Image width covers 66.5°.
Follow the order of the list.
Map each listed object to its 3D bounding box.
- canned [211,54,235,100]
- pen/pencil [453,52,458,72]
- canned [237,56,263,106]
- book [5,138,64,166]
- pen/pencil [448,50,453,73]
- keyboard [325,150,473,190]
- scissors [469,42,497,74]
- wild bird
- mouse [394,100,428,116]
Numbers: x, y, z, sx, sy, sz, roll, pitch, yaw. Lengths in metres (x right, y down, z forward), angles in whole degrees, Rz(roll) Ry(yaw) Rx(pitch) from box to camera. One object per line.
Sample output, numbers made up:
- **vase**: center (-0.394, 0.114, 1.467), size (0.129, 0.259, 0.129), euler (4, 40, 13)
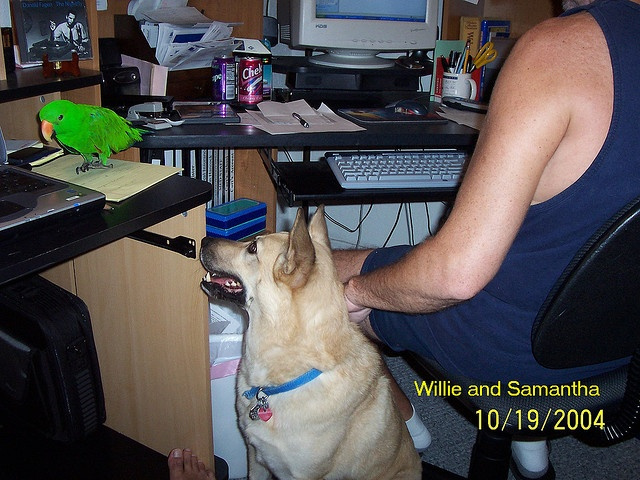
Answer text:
- **canned**: center (-0.436, -0.736, 2.226), size (0.109, 0.191, 0.067), euler (-4, 23, -11)
- **pen/pencil**: center (0.693, -0.918, 2.498), size (0.015, 0.102, 0.015), euler (11, -25, -8)
- **canned**: center (-0.317, -0.728, 2.217), size (0.120, 0.198, 0.104), euler (-4, 23, -10)
- **book**: center (-0.875, -0.269, 1.496), size (0.192, 0.056, 0.213), euler (-11, 21, -17)
- **pen/pencil**: center (0.666, -0.923, 2.512), size (0.028, 0.111, 0.028), euler (2, -11, -3)
- **keyboard**: center (0.332, -0.325, 2.013), size (0.580, 0.081, 0.262), euler (1, -6, 14)
- **scissors**: center (0.832, -0.927, 2.452), size (0.023, 0.078, 0.196), euler (8, -6, -23)
- **wild bird**: center (-0.636, -0.340, 1.515), size (0.280, 0.228, 0.301), euler (3, 24, -3)
- **mouse**: center (0.414, -0.603, 2.207), size (0.129, 0.041, 0.083), euler (12, 36, 13)
